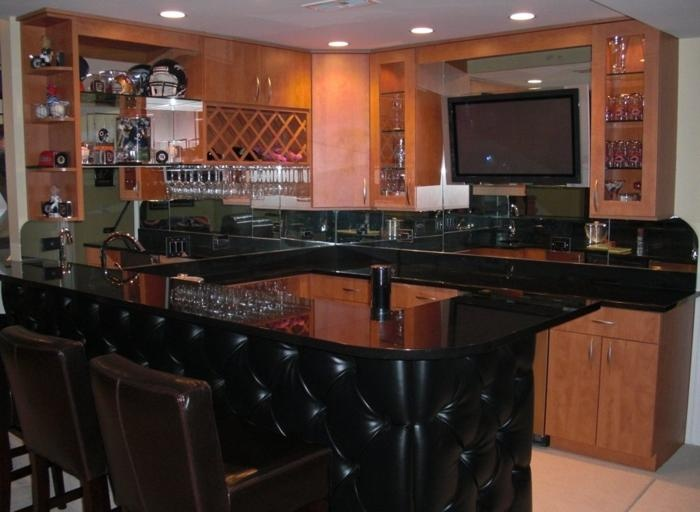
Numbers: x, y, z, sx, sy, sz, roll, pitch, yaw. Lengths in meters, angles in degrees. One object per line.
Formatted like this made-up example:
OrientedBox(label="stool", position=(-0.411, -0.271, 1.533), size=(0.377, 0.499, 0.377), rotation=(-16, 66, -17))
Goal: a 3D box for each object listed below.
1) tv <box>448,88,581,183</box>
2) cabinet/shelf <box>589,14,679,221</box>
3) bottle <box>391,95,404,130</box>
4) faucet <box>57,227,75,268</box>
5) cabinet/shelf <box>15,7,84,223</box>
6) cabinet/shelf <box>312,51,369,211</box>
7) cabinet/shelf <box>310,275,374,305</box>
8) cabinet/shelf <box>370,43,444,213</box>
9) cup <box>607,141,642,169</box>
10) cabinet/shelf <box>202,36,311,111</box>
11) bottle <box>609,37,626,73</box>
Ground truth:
OrientedBox(label="tv", position=(1.214, -0.874, 4.369), size=(1.063, 0.651, 0.094), rotation=(-2, 4, 0))
OrientedBox(label="cabinet/shelf", position=(1.805, -0.858, 3.843), size=(0.437, 1.168, 0.287), rotation=(2, 8, 28))
OrientedBox(label="bottle", position=(0.400, -1.211, 4.853), size=(0.101, 0.298, 0.050), rotation=(3, 11, 18))
OrientedBox(label="faucet", position=(-1.926, -0.049, 3.920), size=(0.104, 0.242, 0.573), rotation=(-6, 12, -25))
OrientedBox(label="cabinet/shelf", position=(-2.005, -0.925, 3.917), size=(0.466, 1.341, 0.211), rotation=(4, 11, 24))
OrientedBox(label="cabinet/shelf", position=(-0.084, -1.064, 4.967), size=(0.495, 1.262, 0.121), rotation=(-2, 10, -4))
OrientedBox(label="cabinet/shelf", position=(-0.153, 0.264, 4.676), size=(0.637, 0.163, 0.361), rotation=(6, 13, 34))
OrientedBox(label="cabinet/shelf", position=(0.461, -1.055, 4.843), size=(0.587, 1.278, 0.286), rotation=(0, 10, 5))
OrientedBox(label="cup", position=(1.869, -0.670, 3.949), size=(0.187, 0.196, 0.204), rotation=(0, 5, 0))
OrientedBox(label="cabinet/shelf", position=(-0.767, -1.454, 4.752), size=(0.893, 0.444, 0.295), rotation=(-1, 12, -22))
OrientedBox(label="bottle", position=(1.815, -1.365, 3.938), size=(0.108, 0.243, 0.040), rotation=(3, 11, 21))
